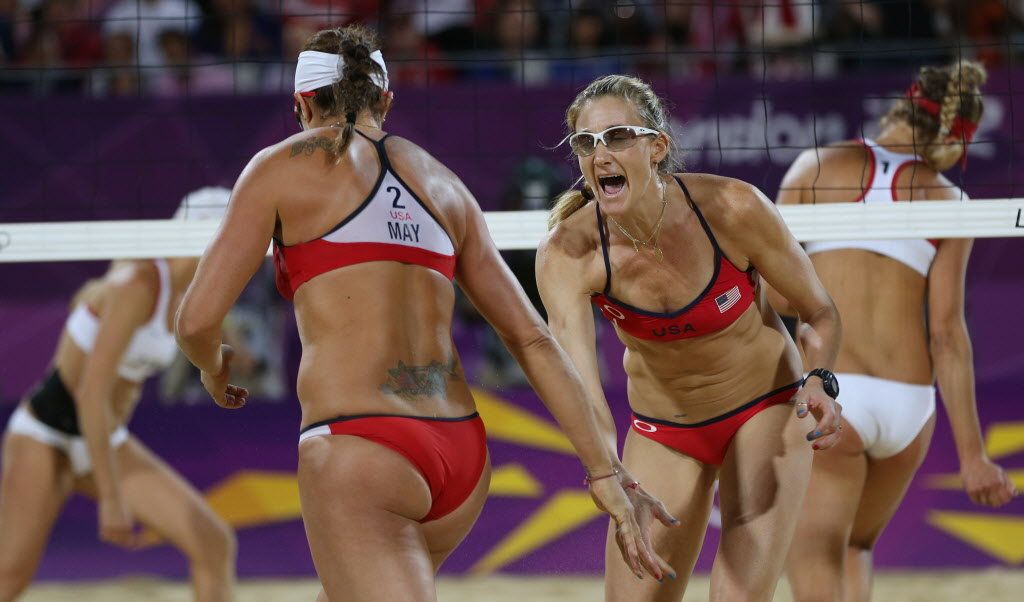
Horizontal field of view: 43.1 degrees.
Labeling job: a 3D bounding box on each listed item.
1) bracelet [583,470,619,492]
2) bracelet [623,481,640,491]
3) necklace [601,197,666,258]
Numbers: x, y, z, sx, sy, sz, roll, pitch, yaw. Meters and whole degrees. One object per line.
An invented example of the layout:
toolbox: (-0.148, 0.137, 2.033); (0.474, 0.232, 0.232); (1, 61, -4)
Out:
bracelet: (0.480, 0.941, 6.900); (0.155, 0.068, 0.121); (-19, -1, -1)
bracelet: (0.666, 1.013, 7.069); (0.056, 0.033, 0.047); (-3, -7, 35)
necklace: (0.717, -0.404, 7.275); (0.309, 0.314, 0.094); (-34, -13, 8)
